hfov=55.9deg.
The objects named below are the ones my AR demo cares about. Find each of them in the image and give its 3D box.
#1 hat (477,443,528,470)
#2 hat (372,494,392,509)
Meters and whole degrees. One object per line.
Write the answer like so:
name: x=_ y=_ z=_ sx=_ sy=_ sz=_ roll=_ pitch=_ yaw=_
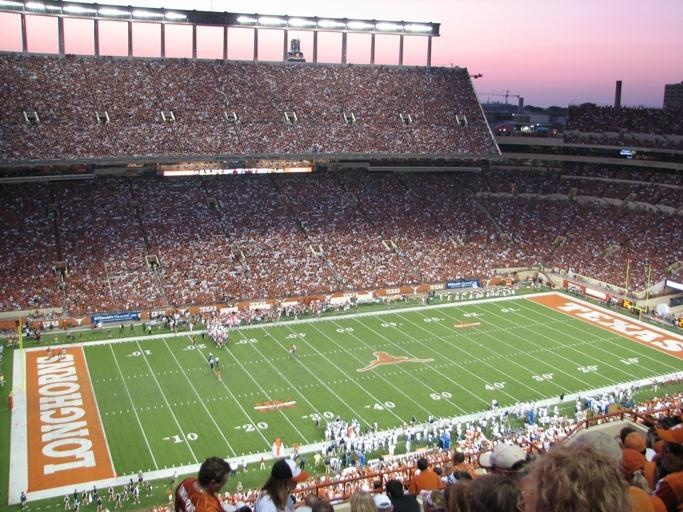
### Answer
hat: x=1.708 y=2.188 z=6.892 sx=0.425 sy=0.212 sz=0.272 roll=10 pitch=25 yaw=29
hat: x=0.494 y=2.948 z=7.704 sx=0.209 sy=0.144 sz=0.193 roll=-4 pitch=4 yaw=1
